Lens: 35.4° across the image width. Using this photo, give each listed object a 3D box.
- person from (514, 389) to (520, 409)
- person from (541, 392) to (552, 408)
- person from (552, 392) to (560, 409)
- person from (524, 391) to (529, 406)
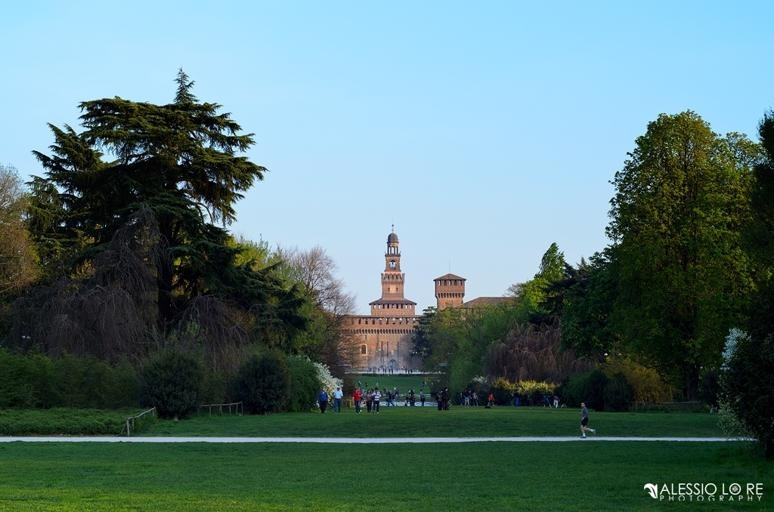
[{"bbox_3d":[9.342,10.095,85.709,0.434,0.900,1.125,1,1,6],"label":"person"},{"bbox_3d":[11.123,9.863,83.387,0.601,0.831,1.314,1,1,6],"label":"person"},{"bbox_3d":[11.447,9.835,81.799,0.518,0.890,0.414,-12,-22,35],"label":"person"},{"bbox_3d":[9.932,10.070,85.524,0.253,0.851,0.426,1,1,-7],"label":"person"}]
